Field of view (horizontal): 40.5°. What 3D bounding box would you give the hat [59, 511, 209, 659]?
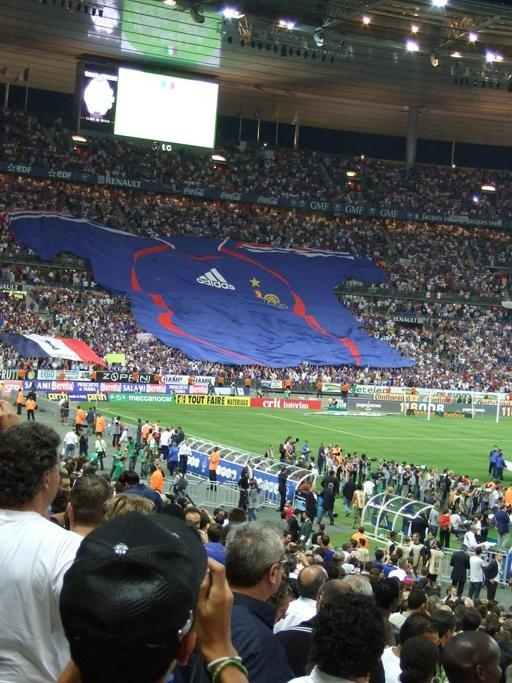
[{"bbox_3d":[-0.292,0.536,1.640,0.316,0.243,0.459,-1,16,-2],"label":"hat"}]
